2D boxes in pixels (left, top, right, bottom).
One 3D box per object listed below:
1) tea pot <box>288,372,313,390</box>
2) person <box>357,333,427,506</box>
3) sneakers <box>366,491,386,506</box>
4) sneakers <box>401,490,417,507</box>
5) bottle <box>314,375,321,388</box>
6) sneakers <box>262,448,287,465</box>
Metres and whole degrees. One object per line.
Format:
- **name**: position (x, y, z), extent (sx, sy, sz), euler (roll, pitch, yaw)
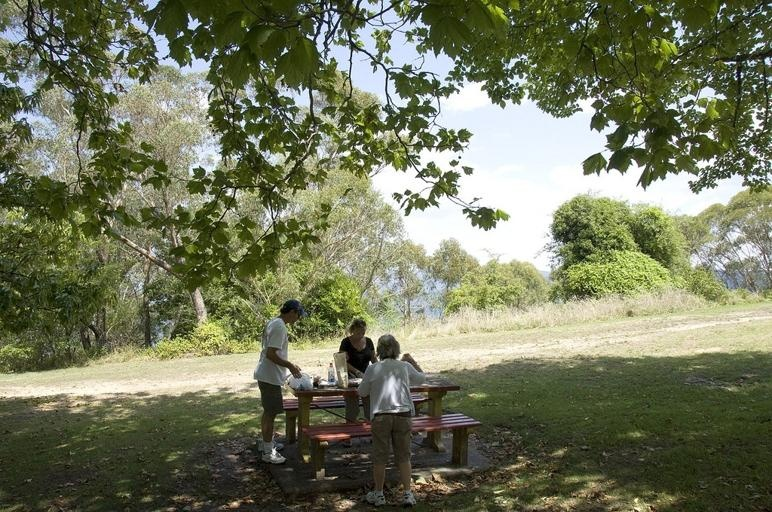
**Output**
- **tea pot**: position (-1.519, 2.226, 9.592), extent (0.282, 0.233, 0.366), euler (12, -11, -34)
- **person**: position (0.027, 2.565, 8.484), extent (0.899, 2.579, 0.714), euler (-3, 4, 2)
- **sneakers**: position (-0.159, 3.773, 8.359), extent (0.322, 0.167, 0.152), euler (-1, -7, 35)
- **sneakers**: position (0.334, 3.734, 8.247), extent (0.118, 0.146, 0.312), euler (-3, -14, 12)
- **bottle**: position (-1.272, 2.321, 9.909), extent (0.115, 0.164, 0.160), euler (3, -17, -8)
- **sneakers**: position (-1.971, 3.508, 9.420), extent (0.484, 0.247, 0.199), euler (0, -4, 16)
